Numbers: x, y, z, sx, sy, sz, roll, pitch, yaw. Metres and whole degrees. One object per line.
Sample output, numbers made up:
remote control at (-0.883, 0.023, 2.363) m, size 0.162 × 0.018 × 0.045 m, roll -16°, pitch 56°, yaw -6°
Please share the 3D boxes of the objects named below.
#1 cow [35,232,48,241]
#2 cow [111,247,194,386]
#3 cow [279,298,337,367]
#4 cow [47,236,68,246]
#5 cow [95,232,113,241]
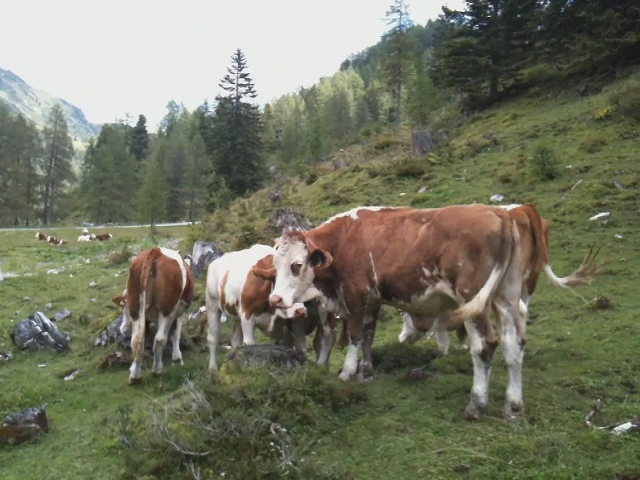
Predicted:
cow at (-21.571, -0.211, 36.216) m, size 0.429 × 0.797 × 1.422 m, roll 7°, pitch 4°, yaw -38°
cow at (-4.064, 1.829, 11.763) m, size 1.598 × 3.255 × 1.404 m, roll 0°, pitch -3°, yaw -37°
cow at (-0.004, 2.338, 11.149) m, size 0.714 × 1.278 × 2.332 m, roll 16°, pitch -14°, yaw 6°
cow at (-19.273, 0.140, 34.285) m, size 1.668 × 0.934 × 0.466 m, roll 9°, pitch 10°, yaw 25°
cow at (-17.240, -0.196, 37.326) m, size 0.358 × 0.767 × 1.396 m, roll 13°, pitch 19°, yaw 36°
